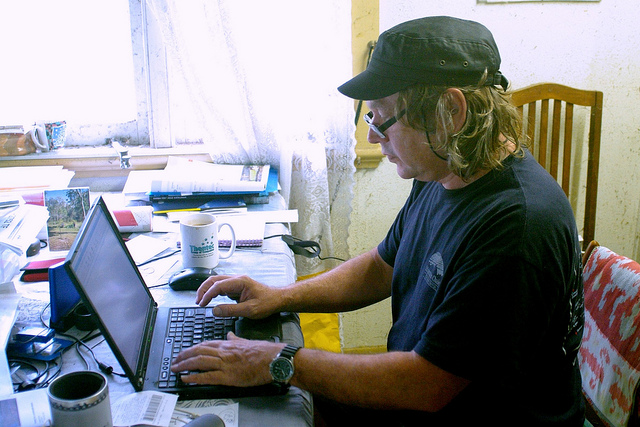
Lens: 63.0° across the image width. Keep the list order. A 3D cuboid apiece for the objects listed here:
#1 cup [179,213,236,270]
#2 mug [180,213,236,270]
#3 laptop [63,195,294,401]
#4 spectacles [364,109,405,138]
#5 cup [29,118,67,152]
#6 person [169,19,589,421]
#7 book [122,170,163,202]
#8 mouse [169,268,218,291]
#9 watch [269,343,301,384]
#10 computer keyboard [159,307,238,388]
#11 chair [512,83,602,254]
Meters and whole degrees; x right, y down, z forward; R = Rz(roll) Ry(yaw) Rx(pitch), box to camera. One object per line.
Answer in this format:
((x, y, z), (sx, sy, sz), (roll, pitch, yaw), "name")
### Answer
((-0.356, 0.097, 1.692), (0.178, 0.140, 0.109), (-4, 7, -35), "cup")
((-0.355, 0.098, 1.692), (0.176, 0.139, 0.109), (-3, 6, -37), "mug")
((-0.276, 0.244, 1.363), (0.535, 0.356, 0.475), (-3, 25, -5), "laptop")
((0.183, -0.249, 1.469), (0.085, 0.026, 0.081), (-38, 24, -3), "spectacles")
((-1.218, -0.358, 2.370), (0.159, 0.145, 0.103), (-15, 32, -41), "cup")
((0.285, -0.037, 1.702), (1.255, 0.976, 0.994), (2, 8, 0), "person")
((-0.732, -0.103, 2.178), (0.155, 0.039, 0.170), (0, 40, 3), "book")
((-0.387, 0.192, 1.575), (0.120, 0.037, 0.069), (2, 14, -9), "mouse")
((-0.074, 0.387, 1.294), (0.065, 0.105, 0.096), (-1, -18, 20), "watch")
((-0.352, 0.362, 1.552), (0.293, 0.038, 0.437), (-23, -13, -27), "computer keyboard")
((1.101, -0.218, 2.414), (0.460, 0.771, 0.290), (-2, 16, 9), "chair")
